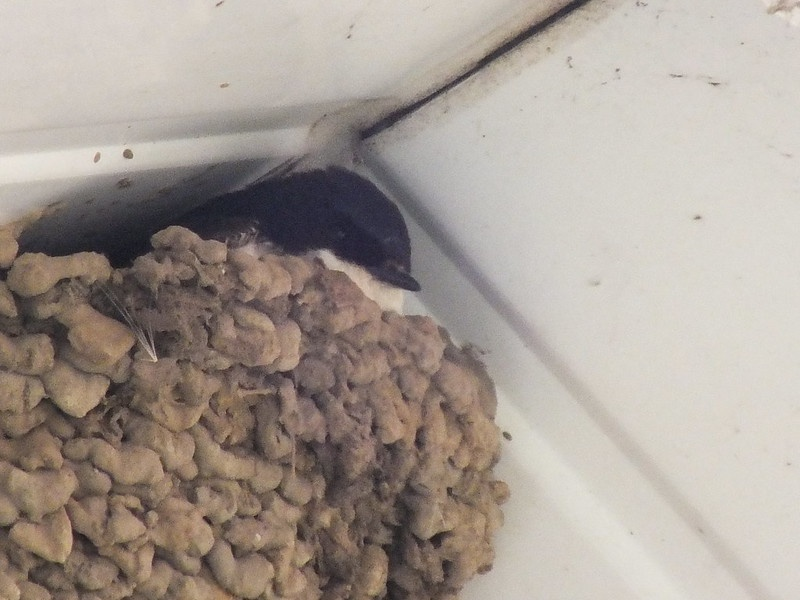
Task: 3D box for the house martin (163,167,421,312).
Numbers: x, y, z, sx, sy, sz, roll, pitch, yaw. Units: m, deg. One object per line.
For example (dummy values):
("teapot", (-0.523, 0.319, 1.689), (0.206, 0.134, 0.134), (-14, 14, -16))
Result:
("house martin", (-0.376, -0.297, 5.481), (0.789, 0.381, 0.499), (14, 20, -11))
